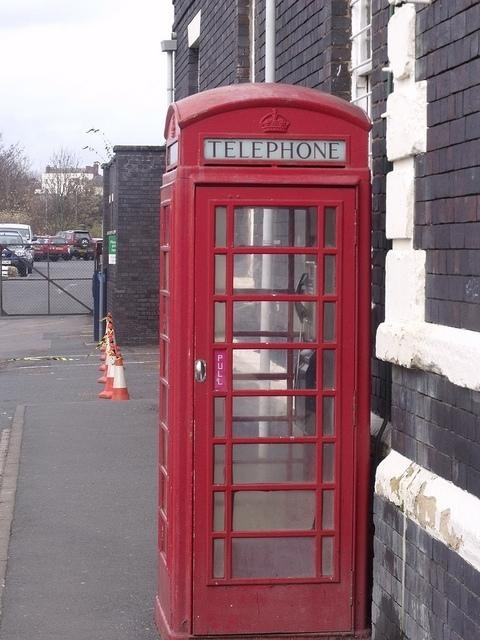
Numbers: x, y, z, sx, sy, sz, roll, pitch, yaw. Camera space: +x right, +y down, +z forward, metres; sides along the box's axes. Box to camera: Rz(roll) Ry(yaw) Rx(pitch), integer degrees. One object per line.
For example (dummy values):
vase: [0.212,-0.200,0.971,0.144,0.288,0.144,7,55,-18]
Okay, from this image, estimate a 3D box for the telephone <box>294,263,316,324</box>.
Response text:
telephone: [0.298,-0.127,3.251,0.090,0.283,0.041,0,2,0]
